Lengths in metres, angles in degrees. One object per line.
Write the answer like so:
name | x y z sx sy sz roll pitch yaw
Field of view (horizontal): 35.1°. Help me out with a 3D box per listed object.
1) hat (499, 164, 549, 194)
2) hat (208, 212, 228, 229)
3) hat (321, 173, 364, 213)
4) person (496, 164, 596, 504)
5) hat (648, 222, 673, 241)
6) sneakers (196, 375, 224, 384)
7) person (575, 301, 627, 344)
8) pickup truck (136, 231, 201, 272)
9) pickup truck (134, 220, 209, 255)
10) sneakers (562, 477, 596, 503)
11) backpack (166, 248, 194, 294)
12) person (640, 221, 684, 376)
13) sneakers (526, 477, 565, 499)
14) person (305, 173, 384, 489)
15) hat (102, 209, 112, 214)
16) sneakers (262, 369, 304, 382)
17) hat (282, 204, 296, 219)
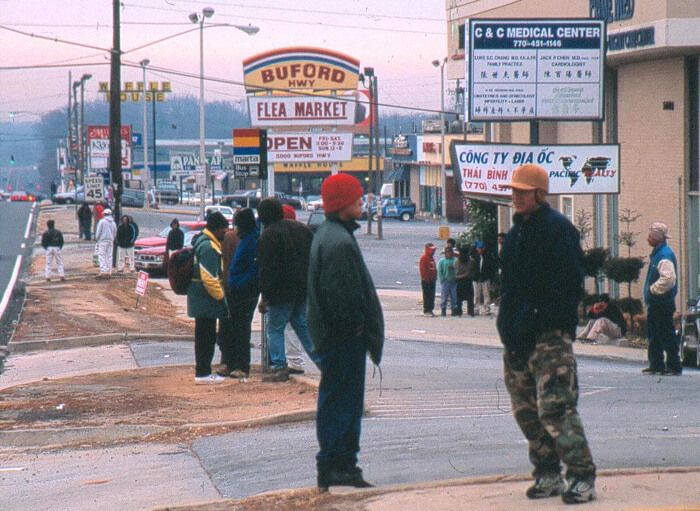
hat | 1.954 -0.870 11.991 0.394 0.230 0.296 7 -2 -20
hat | -1.986 -0.523 16.633 0.266 0.292 0.219 -8 12 -3
hat | -0.099 -0.733 12.330 0.423 0.379 0.412 -6 13 -25
person | 2.076 0.797 11.768 1.152 3.504 0.667 3 6 29
hat | 5.395 -0.413 19.227 0.424 0.199 0.463 9 5 -35
sneakers | -2.092 1.847 16.471 0.375 0.170 0.161 -1 2 -8
person | 4.890 1.198 21.549 0.745 0.941 0.579 -3 -4 1
pickup truck | -5.707 -0.071 34.493 1.409 1.259 2.683 1 1 44
pickup truck | -5.198 -0.517 31.740 1.434 1.072 2.818 1 5 37
sneakers | 2.367 2.462 11.458 0.199 0.169 0.467 5 -2 14
backpack | -2.558 0.145 16.686 0.366 0.753 0.526 1 26 -14
person | 4.930 0.701 17.504 0.592 2.385 0.902 1 -1 -7
sneakers | 2.068 2.453 11.748 0.475 0.245 0.168 -1 -1 -31
person | -0.069 0.851 12.227 0.799 3.465 0.671 0 6 -3
hat | -6.994 -1.282 32.181 0.200 0.053 0.198 -13 21 -41
sneakers | -0.980 1.769 16.343 0.559 0.289 0.212 4 -1 -15
hat | -0.935 -0.660 16.728 0.176 0.265 0.252 1 20 17
